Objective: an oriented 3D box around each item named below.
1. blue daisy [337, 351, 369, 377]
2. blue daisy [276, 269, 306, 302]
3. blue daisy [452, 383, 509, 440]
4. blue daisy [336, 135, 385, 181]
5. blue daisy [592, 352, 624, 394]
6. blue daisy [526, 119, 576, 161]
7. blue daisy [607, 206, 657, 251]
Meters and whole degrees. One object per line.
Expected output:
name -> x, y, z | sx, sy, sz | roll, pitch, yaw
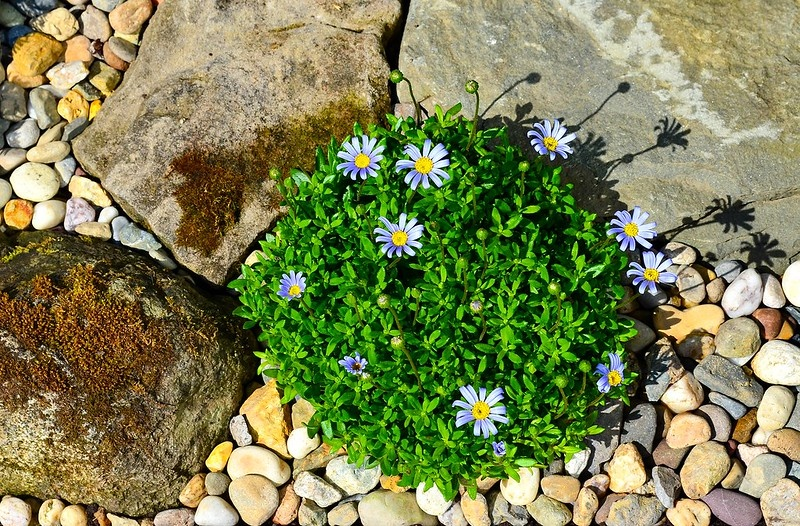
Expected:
blue daisy -> -0.417, 0.946, 8.716 | 0.223, 0.094, 0.226 | 44, 73, 8
blue daisy -> -0.993, 0.203, 8.563 | 0.218, 0.165, 0.269 | 18, 83, 2
blue daisy -> 0.748, 1.318, 8.352 | 0.477, 0.155, 0.484 | 43, 94, 3
blue daisy -> -0.363, -0.974, 8.812 | 0.424, 0.537, 0.398 | 8, 82, 1
blue daisy -> 1.976, 1.018, 8.661 | 0.296, 0.125, 0.385 | -11, 100, -22
blue daisy -> 1.448, -1.202, 8.981 | 0.485, 0.550, 0.151 | 25, 70, -21
blue daisy -> 2.203, -0.296, 8.837 | 0.417, 0.426, 0.403 | -13, 82, -2
